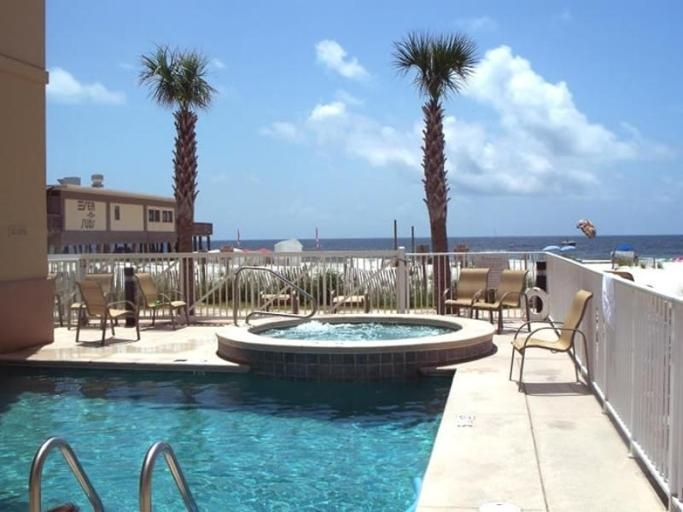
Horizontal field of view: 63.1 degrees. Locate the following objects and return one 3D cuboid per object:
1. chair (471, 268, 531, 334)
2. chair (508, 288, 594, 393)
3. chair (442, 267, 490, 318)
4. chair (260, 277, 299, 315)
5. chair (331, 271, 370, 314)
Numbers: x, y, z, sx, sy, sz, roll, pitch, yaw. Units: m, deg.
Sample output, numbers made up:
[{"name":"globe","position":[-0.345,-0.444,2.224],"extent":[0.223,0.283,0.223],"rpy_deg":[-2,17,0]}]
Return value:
[{"name":"chair","position":[2.844,0.818,10.073],"extent":[0.796,1.182,0.888],"rpy_deg":[2,-3,43]},{"name":"chair","position":[2.515,1.009,6.722],"extent":[0.874,1.165,0.812],"rpy_deg":[0,2,21]},{"name":"chair","position":[2.326,0.827,10.497],"extent":[0.810,1.292,1.015],"rpy_deg":[4,-3,17]},{"name":"chair","position":[-1.404,0.864,13.127],"extent":[0.933,1.013,0.828],"rpy_deg":[8,3,7]},{"name":"chair","position":[0.167,0.782,12.545],"extent":[0.829,0.888,0.704],"rpy_deg":[1,-3,-16]}]
